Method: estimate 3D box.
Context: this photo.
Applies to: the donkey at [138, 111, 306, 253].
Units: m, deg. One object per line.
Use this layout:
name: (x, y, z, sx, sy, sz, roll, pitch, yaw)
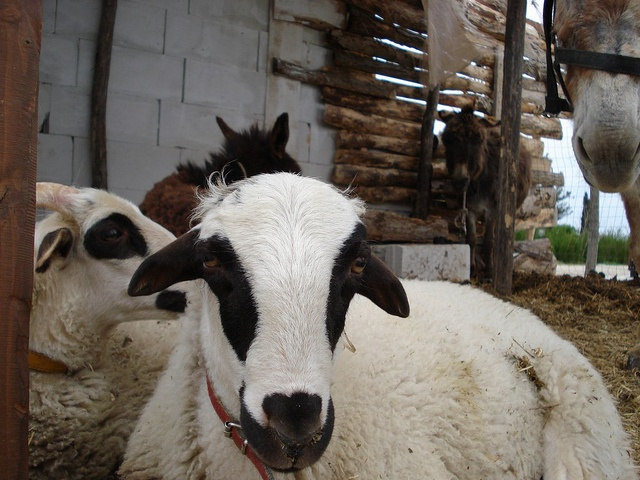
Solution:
donkey: (-1.273, -0.624, 9.406, 1.476, 1.850, 1.617, 4, 12, -5)
